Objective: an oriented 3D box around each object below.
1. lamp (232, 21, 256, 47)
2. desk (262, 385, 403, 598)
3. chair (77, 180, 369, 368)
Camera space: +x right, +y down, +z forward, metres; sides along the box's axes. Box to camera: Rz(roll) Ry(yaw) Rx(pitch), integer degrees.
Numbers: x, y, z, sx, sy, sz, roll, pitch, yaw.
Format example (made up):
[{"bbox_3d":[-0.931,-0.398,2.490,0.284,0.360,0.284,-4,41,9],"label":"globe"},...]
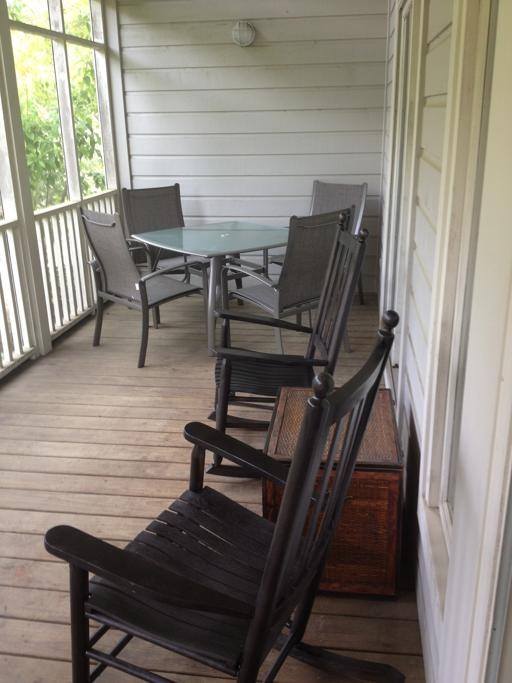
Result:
[{"bbox_3d":[-0.099,-2.603,4.405,0.204,0.192,0.080,-1,21,-2],"label":"lamp"},{"bbox_3d":[0.219,0.591,1.742,0.378,0.373,0.534,8,-9,-2],"label":"desk"},{"bbox_3d":[-0.271,-0.455,3.618,1.280,0.761,1.301,10,20,30],"label":"chair"}]
